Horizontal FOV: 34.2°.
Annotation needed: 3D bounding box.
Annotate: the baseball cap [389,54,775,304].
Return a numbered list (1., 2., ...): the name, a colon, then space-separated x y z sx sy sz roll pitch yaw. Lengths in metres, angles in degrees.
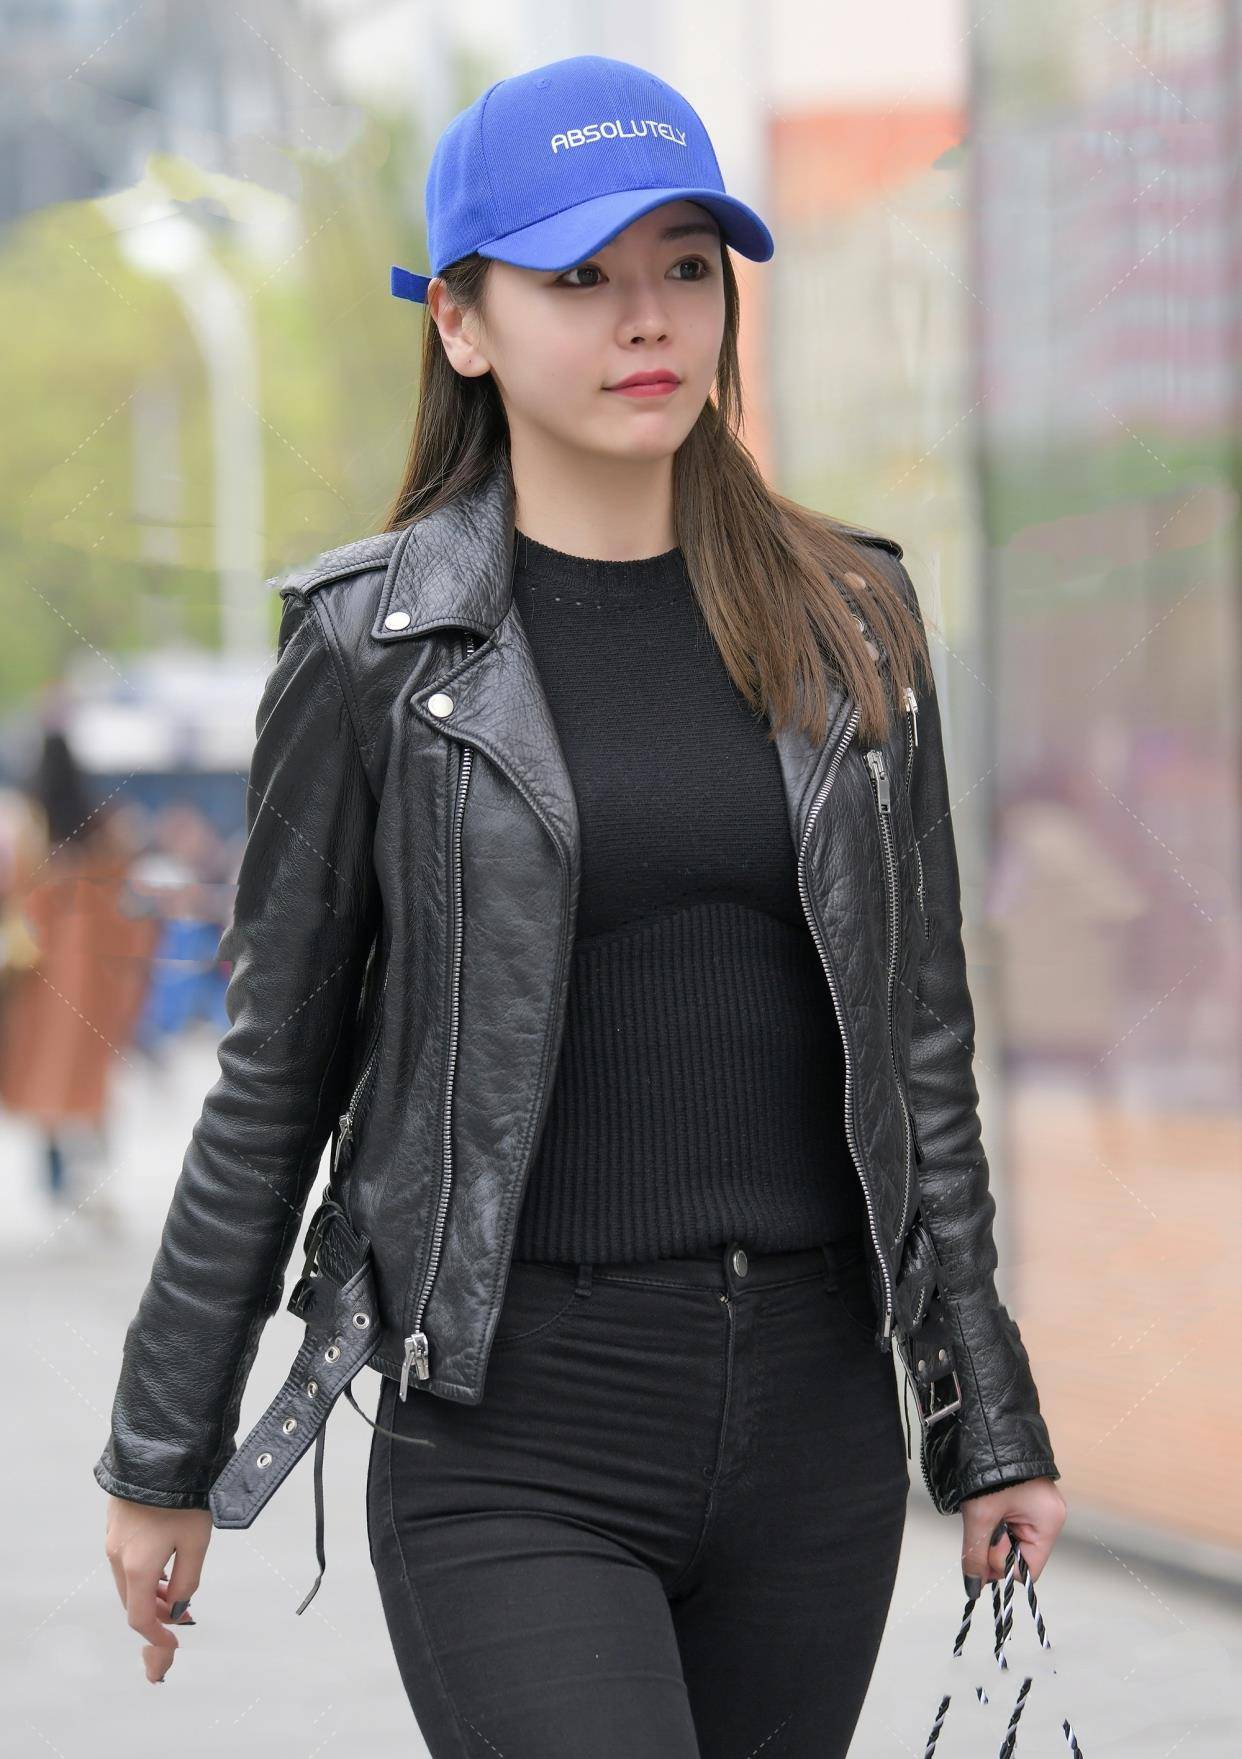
1. baseball cap: -0.042 -0.561 1.718 0.212 0.127 0.266 -6 -4 -33

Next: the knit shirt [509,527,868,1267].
1. knit shirt: 0.049 0.007 1.679 0.266 0.553 0.317 -2 16 5
